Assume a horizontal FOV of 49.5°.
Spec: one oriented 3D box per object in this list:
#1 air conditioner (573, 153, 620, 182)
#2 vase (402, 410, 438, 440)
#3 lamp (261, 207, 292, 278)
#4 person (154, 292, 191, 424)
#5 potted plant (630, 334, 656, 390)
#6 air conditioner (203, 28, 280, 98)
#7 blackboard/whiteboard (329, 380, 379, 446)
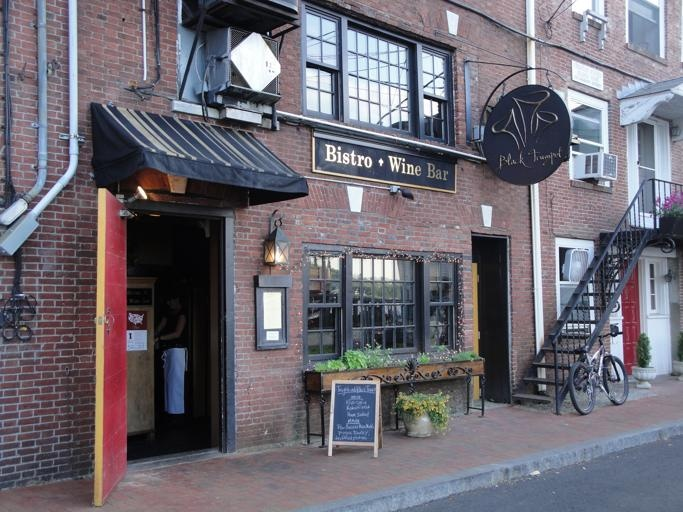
[{"bbox_3d":[5.277,-1.815,15.398,0.631,0.499,0.637,3,-3,-44],"label":"air conditioner"},{"bbox_3d":[1.195,2.543,11.321,0.382,0.271,0.387,4,-9,-24],"label":"vase"},{"bbox_3d":[-0.978,-0.246,10.953,0.311,0.869,0.287,-1,-4,40],"label":"lamp"},{"bbox_3d":[-2.940,1.664,12.509,0.646,2.116,0.628,-5,-6,42],"label":"person"},{"bbox_3d":[6.406,2.175,15.702,0.433,1.128,0.873,-2,-4,21],"label":"potted plant"},{"bbox_3d":[-1.511,-2.671,10.839,0.950,0.989,0.960,9,1,37],"label":"air conditioner"},{"bbox_3d":[0.194,2.177,10.552,0.645,0.846,0.587,3,-2,9],"label":"blackboard/whiteboard"}]
